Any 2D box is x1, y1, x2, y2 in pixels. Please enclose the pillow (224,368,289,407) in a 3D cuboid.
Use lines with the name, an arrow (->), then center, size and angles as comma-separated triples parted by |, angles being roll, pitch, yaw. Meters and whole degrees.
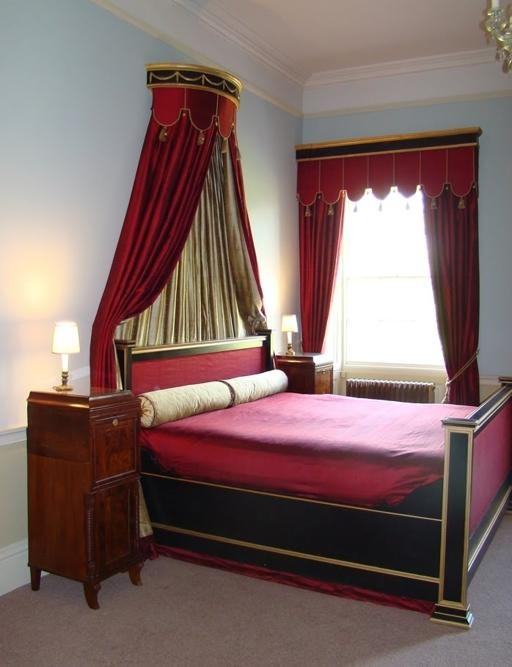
pillow -> 0.008, 0.441, 4.105 | 0.151, 0.172, 0.604 | -22, -8, 22

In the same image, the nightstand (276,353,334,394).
nightstand -> 0.476, 0.341, 5.080 | 0.418, 0.344, 0.421 | 2, 6, 33

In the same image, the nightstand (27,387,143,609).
nightstand -> -0.823, 0.774, 2.377 | 0.557, 0.982, 0.470 | 1, -5, -14

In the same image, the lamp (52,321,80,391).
lamp -> -0.988, 0.111, 2.595 | 0.113, 0.377, 0.460 | 2, -6, -22
